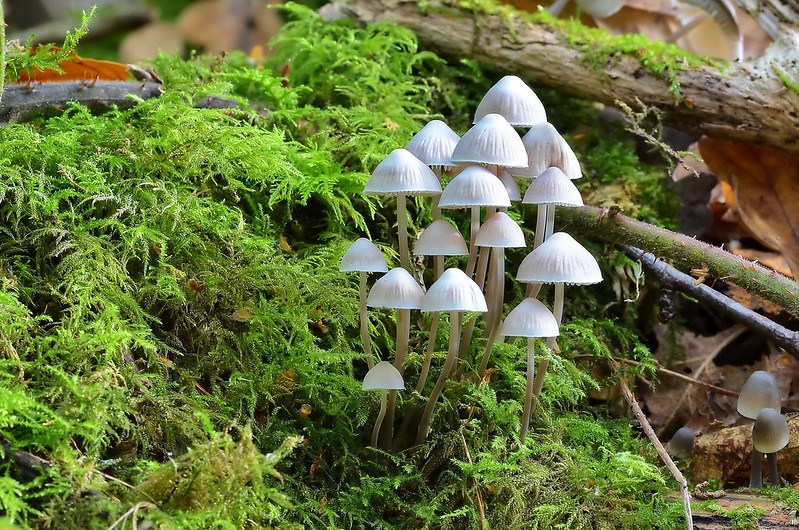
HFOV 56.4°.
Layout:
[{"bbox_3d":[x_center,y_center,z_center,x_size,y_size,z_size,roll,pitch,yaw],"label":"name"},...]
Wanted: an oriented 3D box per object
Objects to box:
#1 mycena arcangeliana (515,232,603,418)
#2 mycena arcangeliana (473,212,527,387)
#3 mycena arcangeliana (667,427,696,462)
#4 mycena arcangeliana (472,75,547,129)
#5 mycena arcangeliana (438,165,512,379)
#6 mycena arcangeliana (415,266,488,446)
[{"bbox_3d":[0.665,0.190,3.339,0.339,0.730,0.372,19,32,13],"label":"mycena arcangeliana"},{"bbox_3d":[0.437,0.122,3.378,0.207,0.726,0.185,5,12,17],"label":"mycena arcangeliana"},{"bbox_3d":[1.379,0.882,3.635,0.102,0.107,0.100,37,41,8],"label":"mycena arcangeliana"},{"bbox_3d":[0.507,-0.722,3.359,0.260,0.169,0.254,-6,11,-17],"label":"mycena arcangeliana"},{"bbox_3d":[0.320,0.015,3.323,0.364,0.903,0.290,-1,5,-34],"label":"mycena arcangeliana"},{"bbox_3d":[0.231,0.384,3.245,0.314,0.737,0.312,-1,3,27],"label":"mycena arcangeliana"}]
